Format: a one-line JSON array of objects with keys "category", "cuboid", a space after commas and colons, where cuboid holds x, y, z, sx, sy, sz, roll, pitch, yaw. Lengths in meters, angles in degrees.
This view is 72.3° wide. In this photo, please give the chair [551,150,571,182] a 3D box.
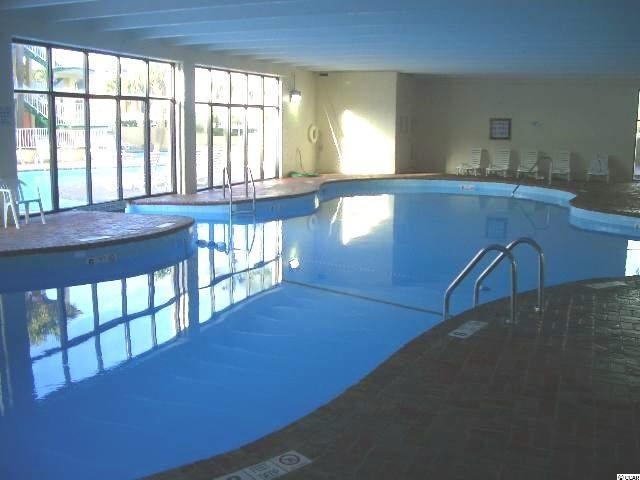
[{"category": "chair", "cuboid": [9.288, -2.900, 16.905, 0.668, 1.041, 0.433, 8, 15, 30]}]

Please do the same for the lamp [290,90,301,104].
[{"category": "lamp", "cuboid": [-0.932, -5.307, 16.163, 0.440, 0.523, 0.237, -8, 9, -39]}]

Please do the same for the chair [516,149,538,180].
[{"category": "chair", "cuboid": [8.208, -3.017, 17.347, 0.733, 1.002, 0.443, 7, 15, 26]}]

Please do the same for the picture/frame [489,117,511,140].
[{"category": "picture/frame", "cuboid": [7.250, -4.503, 17.676, 0.860, 0.827, 0.101, 5, 13, 17]}]

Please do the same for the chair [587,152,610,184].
[{"category": "chair", "cuboid": [10.485, -2.707, 16.519, 0.843, 1.348, 0.977, 4, 11, 26]}]

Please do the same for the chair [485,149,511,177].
[{"category": "chair", "cuboid": [7.221, -3.142, 17.704, 0.826, 1.044, 0.512, 6, 14, 22]}]

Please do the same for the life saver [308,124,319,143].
[{"category": "life saver", "cuboid": [-0.309, -4.392, 17.976, 0.192, 0.749, 0.691, 2, 9, 19]}]
